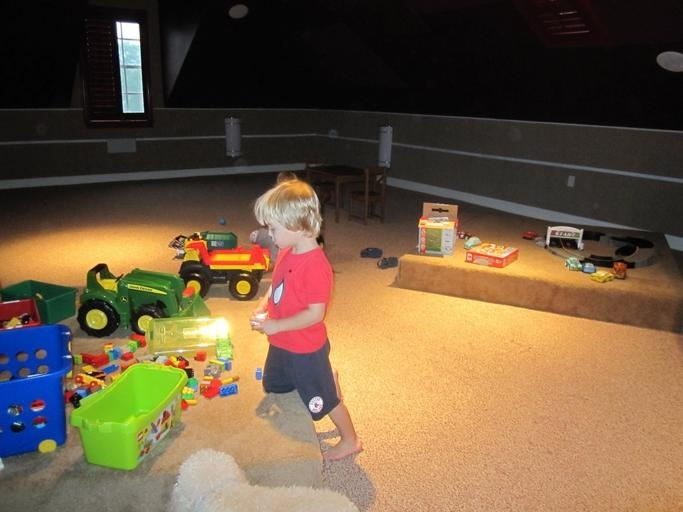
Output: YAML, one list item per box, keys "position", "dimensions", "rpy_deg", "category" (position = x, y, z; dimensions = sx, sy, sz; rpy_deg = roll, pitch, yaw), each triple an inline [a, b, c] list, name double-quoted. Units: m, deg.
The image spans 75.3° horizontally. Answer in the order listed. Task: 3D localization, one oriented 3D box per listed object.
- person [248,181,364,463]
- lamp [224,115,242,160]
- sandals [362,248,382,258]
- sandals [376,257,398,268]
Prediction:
- position: [-0.251, 0.382, 2.413]
  dimensions: [0.510, 1.553, 0.652]
  rpy_deg: [-15, 24, -39]
  category: "person"
- position: [-2.520, -2.808, 10.252]
  dimensions: [0.389, 0.908, 0.674]
  rpy_deg: [1, 33, -2]
  category: "lamp"
- position: [0.379, -0.047, 5.611]
  dimensions: [0.207, 0.073, 0.128]
  rpy_deg: [1, 19, 7]
  category: "sandals"
- position: [0.555, 0.072, 5.303]
  dimensions: [0.199, 0.088, 0.126]
  rpy_deg: [-10, 17, -25]
  category: "sandals"
